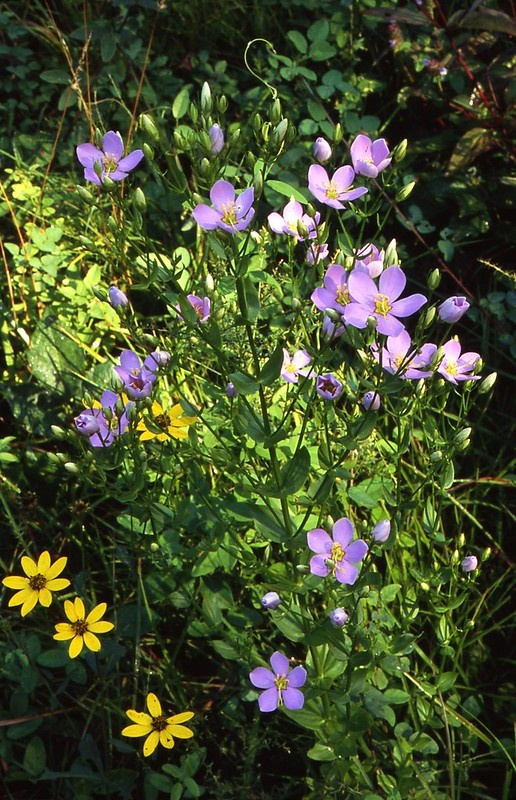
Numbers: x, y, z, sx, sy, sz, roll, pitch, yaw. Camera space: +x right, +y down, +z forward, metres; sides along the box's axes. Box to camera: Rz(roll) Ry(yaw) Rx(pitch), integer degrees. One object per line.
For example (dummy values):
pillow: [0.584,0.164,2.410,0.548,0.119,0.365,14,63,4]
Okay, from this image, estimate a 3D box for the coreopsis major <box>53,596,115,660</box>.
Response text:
coreopsis major: [-0.489,0.634,1.934,0.142,0.148,0.048,3,89,24]

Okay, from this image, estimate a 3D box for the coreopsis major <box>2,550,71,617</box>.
coreopsis major: [-0.639,0.524,2.003,0.139,0.119,0.186,40,67,18]

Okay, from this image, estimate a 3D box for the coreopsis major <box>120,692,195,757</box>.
coreopsis major: [-0.269,0.882,1.863,0.173,0.141,0.138,21,63,10]
